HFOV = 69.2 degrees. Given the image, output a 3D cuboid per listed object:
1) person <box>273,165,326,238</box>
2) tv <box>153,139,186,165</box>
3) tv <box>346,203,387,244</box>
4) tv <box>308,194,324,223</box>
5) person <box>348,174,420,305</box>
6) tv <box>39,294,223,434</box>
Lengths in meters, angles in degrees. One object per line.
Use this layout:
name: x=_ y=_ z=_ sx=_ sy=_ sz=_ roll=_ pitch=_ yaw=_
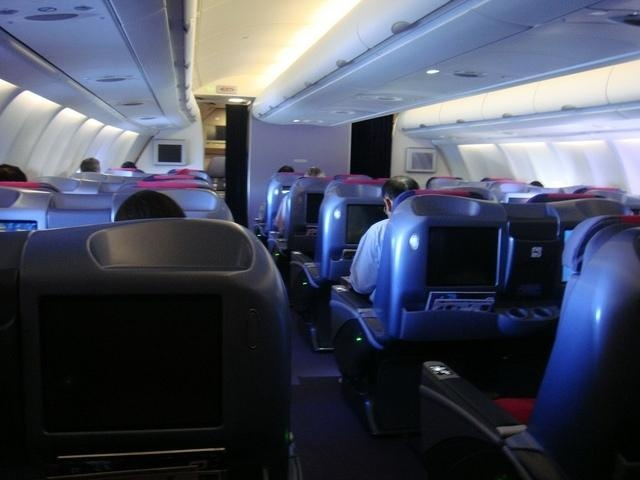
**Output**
person: x=-0.160 y=-0.482 z=5.760 sx=0.516 sy=0.803 sz=0.448 roll=-5 pitch=32 yaw=-20
tv: x=-4.566 y=-2.692 z=14.197 sx=0.840 sy=0.623 sz=0.084 roll=2 pitch=15 yaw=4
tv: x=0.334 y=-0.122 z=3.478 sx=0.348 sy=0.289 sz=0.169 roll=-1 pitch=11 yaw=-21
tv: x=-0.075 y=-0.344 z=5.154 sx=0.042 sy=0.373 sz=0.230 roll=-4 pitch=5 yaw=-14
person: x=0.525 y=0.011 z=3.058 sx=0.604 sy=0.841 sz=0.427 roll=-1 pitch=19 yaw=-3
tv: x=-0.447 y=0.230 z=1.135 sx=0.495 sy=0.101 sz=0.331 roll=2 pitch=19 yaw=-25
